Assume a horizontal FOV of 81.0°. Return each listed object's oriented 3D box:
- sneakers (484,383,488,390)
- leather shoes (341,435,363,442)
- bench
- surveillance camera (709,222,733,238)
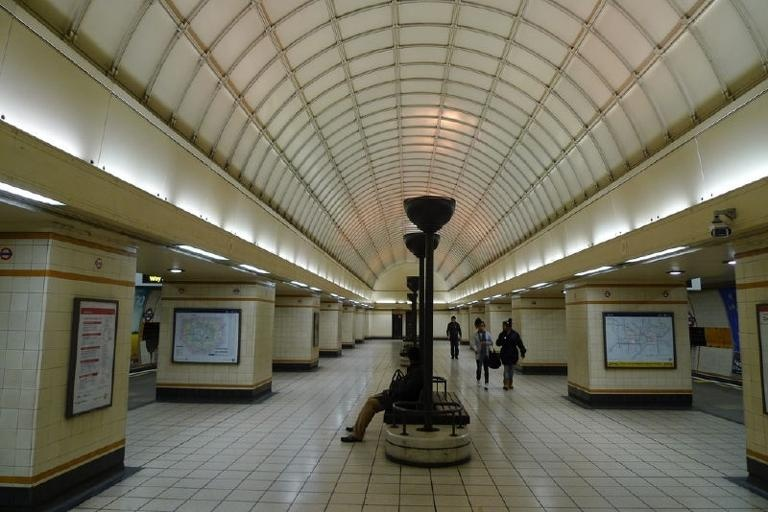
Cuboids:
[{"bbox_3d":[3.613,4.571,15.778,0.120,0.165,0.385,-2,-14,5],"label":"sneakers"},{"bbox_3d":[-0.690,3.984,9.860,0.485,0.190,0.168,4,-9,-1],"label":"leather shoes"},{"bbox_3d":[1.015,3.432,10.719,1.692,0.638,3.857,0,-5,5],"label":"bench"},{"bbox_3d":[5.613,-0.446,7.489,0.295,0.236,0.300,-1,-5,17],"label":"surveillance camera"}]
